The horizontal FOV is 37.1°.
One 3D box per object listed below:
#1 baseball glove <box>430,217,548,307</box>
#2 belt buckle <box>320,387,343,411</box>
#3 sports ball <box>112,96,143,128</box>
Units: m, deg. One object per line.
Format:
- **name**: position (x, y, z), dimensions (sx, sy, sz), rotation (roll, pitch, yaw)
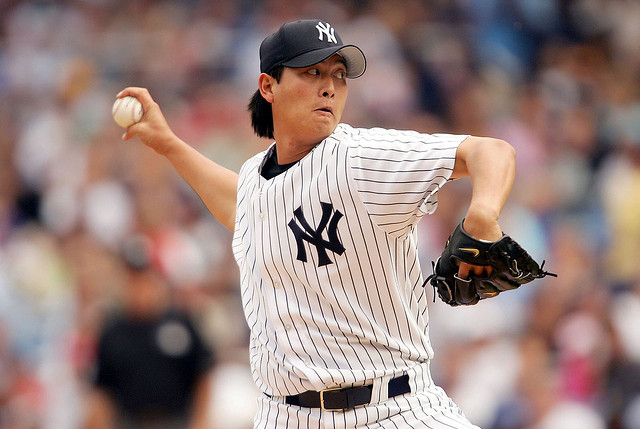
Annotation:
- **baseball glove**: position (1.198, 0.398, 6.909), dimensions (0.684, 0.393, 0.598), rotation (13, -45, 9)
- **belt buckle**: position (0.087, 1.339, 7.095), dimensions (0.148, 0.174, 0.044), rotation (0, 4, 4)
- **sports ball**: position (-1.544, -0.873, 7.903), dimensions (0.213, 0.277, 0.229), rotation (15, 13, -3)
